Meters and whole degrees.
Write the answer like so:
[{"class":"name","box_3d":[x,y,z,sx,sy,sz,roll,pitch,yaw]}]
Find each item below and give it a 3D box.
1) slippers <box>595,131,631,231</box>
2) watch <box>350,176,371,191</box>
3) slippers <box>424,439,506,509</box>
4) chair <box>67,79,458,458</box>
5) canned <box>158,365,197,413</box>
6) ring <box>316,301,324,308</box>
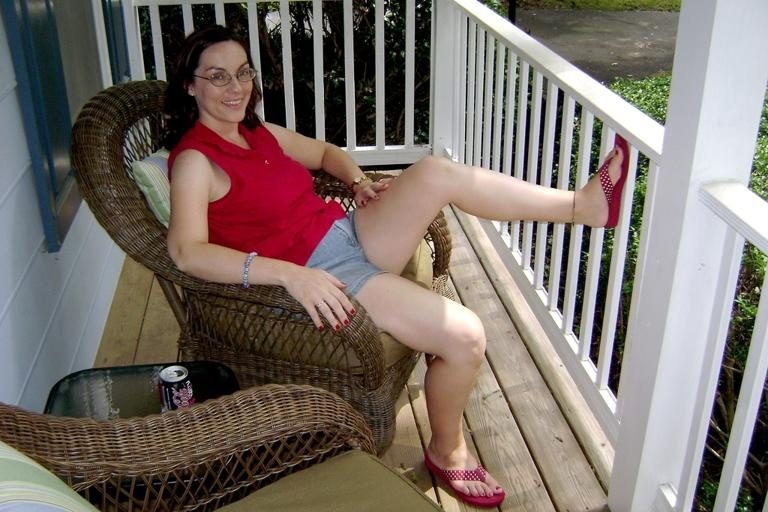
[{"class":"slippers","box_3d":[0.832,-0.284,1.915,0.068,0.316,0.103,-12,21,-24]},{"class":"watch","box_3d":[-0.106,-0.337,2.321,0.065,0.021,0.065,-6,34,39]},{"class":"slippers","box_3d":[0.314,0.834,1.965,0.250,0.073,0.135,28,47,30]},{"class":"chair","box_3d":[-0.518,-0.020,2.209,1.307,1.058,1.065,12,29,11]},{"class":"canned","box_3d":[-0.611,0.394,1.523,0.085,0.161,0.084,-9,27,-21]},{"class":"ring","box_3d":[-0.211,0.157,1.680,0.018,0.005,0.020,-2,56,3]}]
